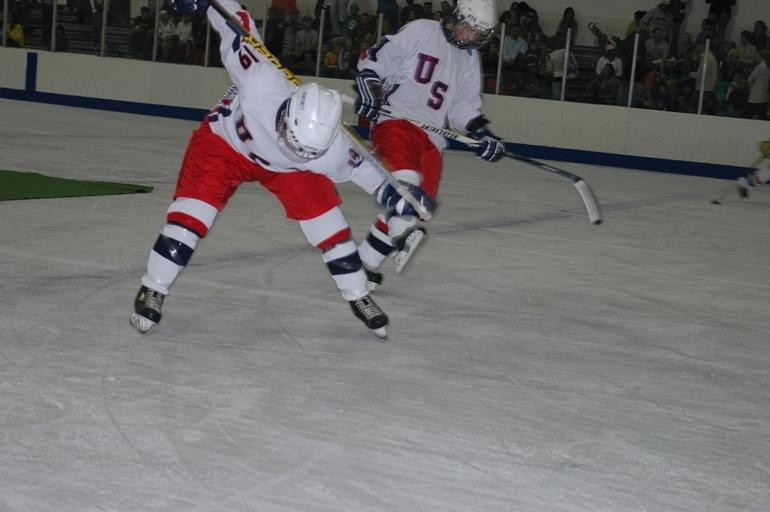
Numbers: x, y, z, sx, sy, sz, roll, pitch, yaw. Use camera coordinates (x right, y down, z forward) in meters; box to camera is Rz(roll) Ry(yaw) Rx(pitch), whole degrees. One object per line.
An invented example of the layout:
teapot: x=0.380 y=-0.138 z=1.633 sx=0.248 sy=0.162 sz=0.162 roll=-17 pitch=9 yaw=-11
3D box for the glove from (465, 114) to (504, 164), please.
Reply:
glove: x=0.596 y=-0.692 z=4.036 sx=0.293 sy=0.139 sz=0.212 roll=59 pitch=9 yaw=23

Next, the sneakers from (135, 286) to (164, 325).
sneakers: x=-1.158 y=0.253 z=3.277 sx=0.142 sy=0.211 sz=0.185 roll=2 pitch=12 yaw=-20

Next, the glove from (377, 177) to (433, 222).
glove: x=0.114 y=-0.287 z=3.461 sx=0.268 sy=0.183 sz=0.121 roll=22 pitch=-7 yaw=-15

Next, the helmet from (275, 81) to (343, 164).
helmet: x=-0.342 y=-0.601 z=3.042 sx=0.300 sy=0.361 sz=0.207 roll=4 pitch=12 yaw=-8

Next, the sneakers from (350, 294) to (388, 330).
sneakers: x=-0.090 y=0.276 z=3.518 sx=0.276 sy=0.092 sz=0.109 roll=37 pitch=-21 yaw=50

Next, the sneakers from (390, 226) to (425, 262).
sneakers: x=0.133 y=-0.066 z=3.485 sx=0.082 sy=0.222 sz=0.094 roll=46 pitch=31 yaw=-6

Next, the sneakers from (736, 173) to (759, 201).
sneakers: x=3.840 y=-0.750 z=7.066 sx=0.151 sy=0.300 sz=0.221 roll=5 pitch=12 yaw=-5

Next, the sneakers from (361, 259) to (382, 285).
sneakers: x=-0.075 y=0.104 z=3.982 sx=0.067 sy=0.079 sz=0.199 roll=47 pitch=-6 yaw=33

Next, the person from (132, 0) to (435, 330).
person: x=-0.540 y=-0.408 z=3.284 sx=1.255 sy=1.636 sz=0.564 roll=7 pitch=12 yaw=5
